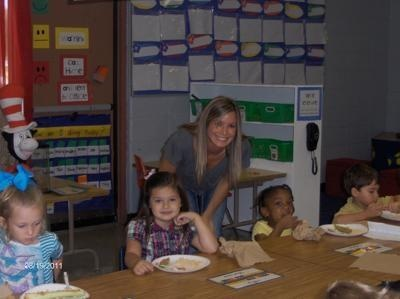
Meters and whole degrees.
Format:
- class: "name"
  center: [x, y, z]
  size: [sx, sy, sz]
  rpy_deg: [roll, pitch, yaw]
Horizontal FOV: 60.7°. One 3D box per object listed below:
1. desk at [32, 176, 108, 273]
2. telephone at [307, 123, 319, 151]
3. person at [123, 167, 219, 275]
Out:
- class: "desk"
  center: [-1.280, 0.854, 3.453]
  size: [0.501, 0.678, 0.511]
  rpy_deg: [15, -19, -39]
- class: "telephone"
  center: [1.277, -0.144, 3.838]
  size: [0.187, 0.327, 0.089]
  rpy_deg: [-2, 5, -27]
- class: "person"
  center: [-0.161, 0.292, 1.855]
  size: [0.473, 0.750, 0.447]
  rpy_deg: [-2, 2, -29]
